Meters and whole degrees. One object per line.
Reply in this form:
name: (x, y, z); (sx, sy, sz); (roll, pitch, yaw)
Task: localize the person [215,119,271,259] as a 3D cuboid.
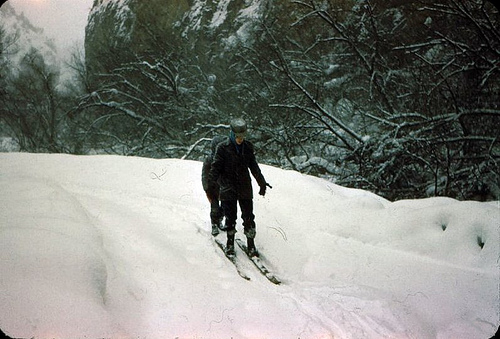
person: (-0.218, 0.621, 13.317); (1.100, 3.271, 0.452); (-9, 9, -6)

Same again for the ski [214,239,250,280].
ski: (-0.445, 2.252, 13.179); (0.154, 0.102, 1.241); (-3, 41, -34)

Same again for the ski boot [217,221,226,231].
ski boot: (-0.727, 1.509, 13.915); (0.054, 0.222, 0.225); (-37, -23, 9)

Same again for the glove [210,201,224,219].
glove: (-0.830, 1.096, 13.715); (0.321, 0.503, 0.325); (-13, 10, -22)

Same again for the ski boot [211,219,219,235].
ski boot: (-0.896, 1.497, 13.748); (0.164, 0.370, 0.163); (-9, 9, -6)

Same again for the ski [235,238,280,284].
ski: (0.173, 2.327, 13.306); (0.133, 0.116, 1.317); (-10, 51, -38)
